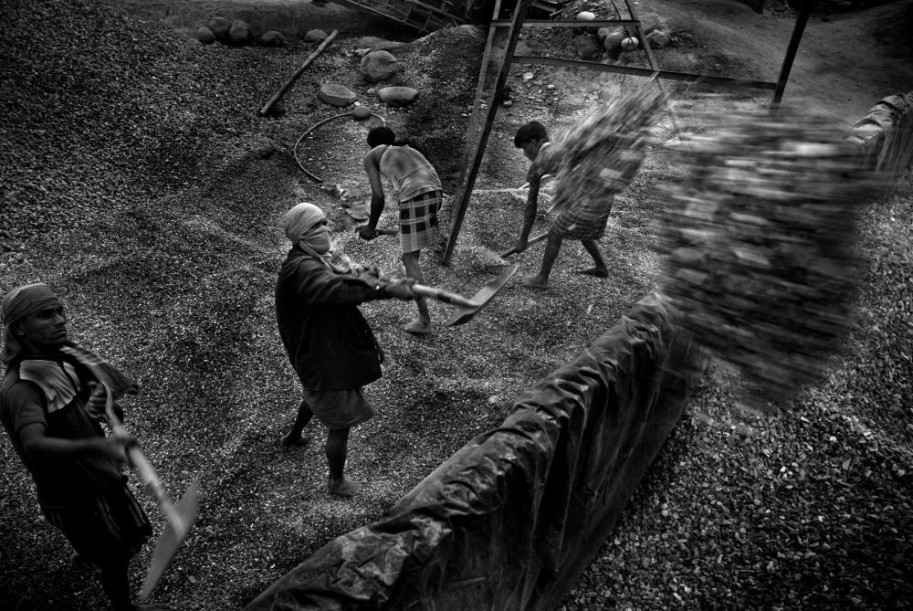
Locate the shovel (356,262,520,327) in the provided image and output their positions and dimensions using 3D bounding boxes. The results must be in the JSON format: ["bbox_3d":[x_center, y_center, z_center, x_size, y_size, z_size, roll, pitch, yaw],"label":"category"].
[{"bbox_3d":[-0.251,-0.088,5.868,0.983,0.199,0.551,23,39,21],"label":"shovel"}]

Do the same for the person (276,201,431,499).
[{"bbox_3d":[-0.893,0.350,5.876,0.912,2.131,0.622,27,38,36],"label":"person"}]

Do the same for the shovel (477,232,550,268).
[{"bbox_3d":[0.582,-0.563,8.002,0.141,1.033,0.129,18,61,-31],"label":"shovel"}]

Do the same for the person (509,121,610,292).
[{"bbox_3d":[1.023,-0.943,7.556,1.051,1.512,0.814,8,30,11],"label":"person"}]
